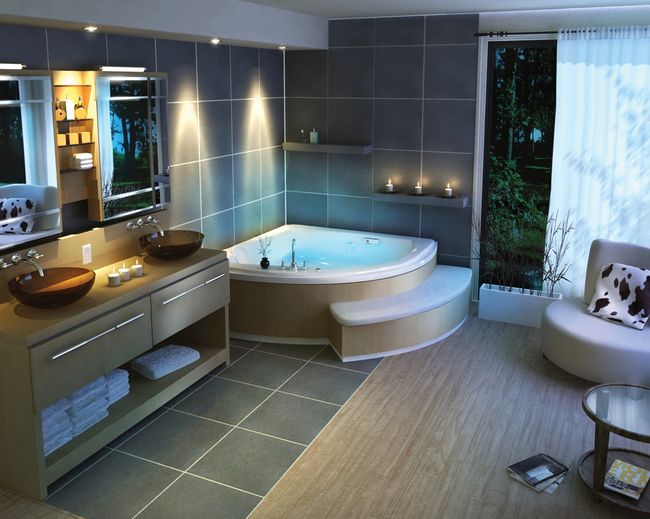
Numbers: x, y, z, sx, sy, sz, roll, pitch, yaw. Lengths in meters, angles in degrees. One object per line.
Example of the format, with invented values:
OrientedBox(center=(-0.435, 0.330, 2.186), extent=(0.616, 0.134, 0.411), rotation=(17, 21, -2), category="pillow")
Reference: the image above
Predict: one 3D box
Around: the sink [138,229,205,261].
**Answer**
OrientedBox(center=(-1.204, -0.118, 3.564), extent=(0.476, 0.160, 0.621), rotation=(-7, 17, -24), category="sink")

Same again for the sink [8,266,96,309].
OrientedBox(center=(-1.597, 0.160, 2.670), extent=(0.433, 0.142, 0.579), rotation=(-10, 18, -32), category="sink")

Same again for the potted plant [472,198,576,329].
OrientedBox(center=(2.115, 0.028, 4.758), extent=(1.088, 1.634, 0.521), rotation=(5, 7, 27), category="potted plant")

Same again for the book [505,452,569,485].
OrientedBox(center=(1.254, 1.233, 2.675), extent=(0.175, 0.026, 0.245), rotation=(4, 12, 36), category="book")

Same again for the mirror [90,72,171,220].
OrientedBox(center=(-1.455, -0.845, 3.330), extent=(0.049, 1.207, 0.982), rotation=(5, 11, 19), category="mirror")

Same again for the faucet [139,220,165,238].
OrientedBox(center=(-1.411, -0.265, 3.721), extent=(0.126, 0.054, 0.142), rotation=(-12, 28, -32), category="faucet")

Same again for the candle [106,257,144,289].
OrientedBox(center=(-1.365, 0.092, 3.101), extent=(0.109, 0.143, 0.337), rotation=(5, 11, 19), category="candle")

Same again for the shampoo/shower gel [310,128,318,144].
OrientedBox(center=(-0.137, -1.478, 5.445), extent=(0.100, 0.176, 0.133), rotation=(0, 14, 1), category="shampoo/shower gel")
